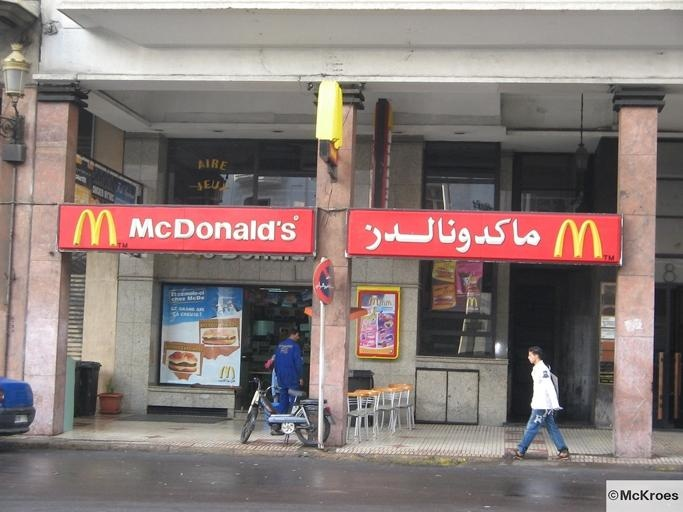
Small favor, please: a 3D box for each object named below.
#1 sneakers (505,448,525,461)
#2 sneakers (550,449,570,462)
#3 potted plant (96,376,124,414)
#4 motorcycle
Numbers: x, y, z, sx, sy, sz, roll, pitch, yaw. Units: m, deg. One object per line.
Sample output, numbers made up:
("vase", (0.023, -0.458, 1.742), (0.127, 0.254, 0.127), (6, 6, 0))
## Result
("sneakers", (3.299, 3.744, 27.703), (0.360, 0.150, 0.166), (4, 0, 17))
("sneakers", (4.150, 3.730, 27.607), (0.364, 0.237, 0.121), (3, -4, 12))
("potted plant", (-5.095, 3.144, 32.391), (0.627, 0.681, 0.613), (1, -6, 0))
("motorcycle", (-1.151, 3.008, 28.502), (1.473, 1.332, 1.784), (7, -11, -31))
